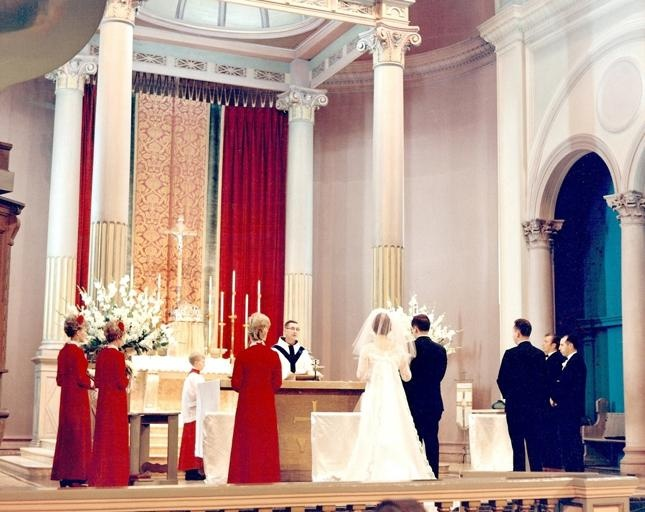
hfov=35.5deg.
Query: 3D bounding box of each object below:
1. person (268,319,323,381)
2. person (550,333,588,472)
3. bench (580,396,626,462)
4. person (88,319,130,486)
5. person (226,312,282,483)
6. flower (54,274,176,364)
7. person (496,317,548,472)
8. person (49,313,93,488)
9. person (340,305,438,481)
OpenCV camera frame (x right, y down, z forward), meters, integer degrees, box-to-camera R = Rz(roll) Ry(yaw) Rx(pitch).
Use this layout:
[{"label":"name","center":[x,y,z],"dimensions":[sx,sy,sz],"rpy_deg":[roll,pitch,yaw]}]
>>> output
[{"label":"person","center":[-0.360,1.268,11.949],"dimensions":[0.576,0.995,0.590],"rpy_deg":[3,-21,-13]},{"label":"person","center":[2.833,1.677,11.599],"dimensions":[0.370,1.552,0.577],"rpy_deg":[0,-7,13]},{"label":"bench","center":[3.927,2.475,13.734],"dimensions":[0.601,0.990,0.498],"rpy_deg":[4,6,-12]},{"label":"person","center":[-2.066,1.426,9.920],"dimensions":[0.372,1.608,0.363],"rpy_deg":[3,-7,-13]},{"label":"person","center":[-0.626,1.448,9.505],"dimensions":[0.477,1.344,0.217],"rpy_deg":[2,-7,-4]},{"label":"flower","center":[-2.385,0.687,11.720],"dimensions":[1.266,1.171,1.248],"rpy_deg":[-4,-3,25]},{"label":"person","center":[2.209,1.498,10.864],"dimensions":[0.530,1.596,0.420],"rpy_deg":[6,-8,-30]},{"label":"person","center":[-2.490,1.430,10.147],"dimensions":[0.386,1.733,0.396],"rpy_deg":[3,-7,-15]},{"label":"person","center":[0.634,1.351,9.849],"dimensions":[0.765,1.640,0.427],"rpy_deg":[1,-7,2]}]
